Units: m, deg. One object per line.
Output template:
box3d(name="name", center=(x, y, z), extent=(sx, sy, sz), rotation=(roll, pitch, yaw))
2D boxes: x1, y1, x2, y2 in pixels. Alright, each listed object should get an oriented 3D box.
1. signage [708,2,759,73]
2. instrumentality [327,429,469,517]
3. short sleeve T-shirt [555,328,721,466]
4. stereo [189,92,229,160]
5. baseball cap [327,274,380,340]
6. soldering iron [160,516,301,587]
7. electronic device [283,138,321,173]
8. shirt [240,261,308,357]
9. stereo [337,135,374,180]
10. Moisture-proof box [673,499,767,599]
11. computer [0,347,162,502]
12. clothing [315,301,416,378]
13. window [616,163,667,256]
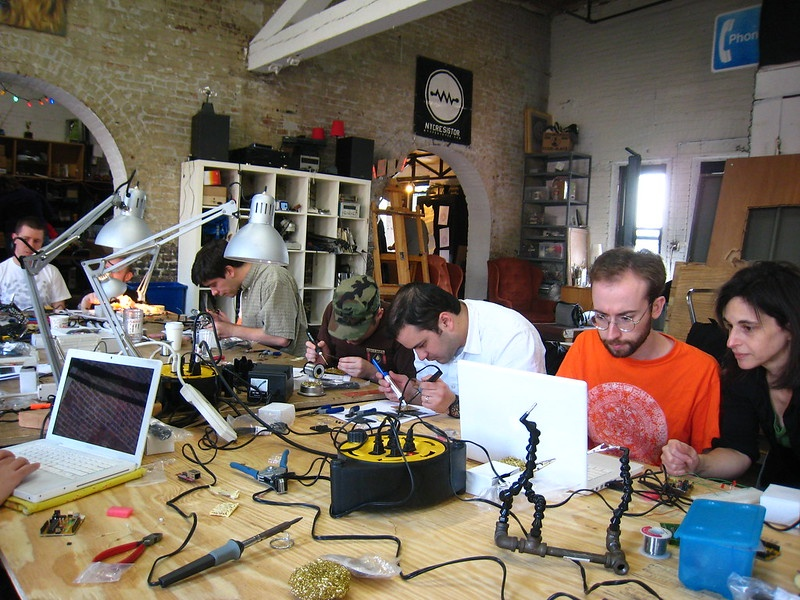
box3d(name="signage", center=(3.675, -2.827, 6.323), extent=(0.183, 0.641, 0.596), rotation=(-3, 13, -29))
box3d(name="instrumentality", center=(-0.009, 0.454, 1.610), extent=(0.285, 0.103, 0.261), rotation=(-1, 0, 14))
box3d(name="short sleeve T-shirt", center=(0.904, 0.378, 2.186), extent=(0.588, 0.387, 0.254), rotation=(8, 3, 44))
box3d(name="stereo", center=(-1.884, -1.716, 5.751), extent=(0.344, 0.715, 0.497), rotation=(-1, 13, -22))
box3d(name="baseball cap", center=(-0.253, 0.043, 3.180), extent=(0.274, 0.188, 0.357), rotation=(20, 52, 4))
box3d(name="soldering iron", center=(-0.355, 0.580, 1.444), extent=(0.447, 0.060, 0.064), rotation=(-11, 27, -34))
box3d(name="electronic device", center=(-1.041, -1.537, 6.233), extent=(0.435, 0.353, 0.356), rotation=(0, 12, -18))
box3d(name="shirt", center=(-0.852, 0.076, 3.847), extent=(0.426, 0.559, 0.705), rotation=(-2, 4, -25))
box3d(name="stereo", center=(-0.522, -1.589, 6.583), extent=(0.438, 0.464, 0.325), rotation=(4, 12, -1))
box3d(name="Moisture-proof box", center=(0.745, 0.564, 1.373), extent=(0.163, 0.105, 0.237), rotation=(1, 7, 35))
box3d(name="computer", center=(-0.918, 0.357, 1.815), extent=(0.511, 0.265, 0.444), rotation=(7, 6, 39))
box3d(name="clothing", center=(-0.163, 0.215, 3.026), extent=(0.442, 0.364, 0.259), rotation=(9, 9, 43))
box3d(name="window", center=(3.236, -1.228, 7.776), extent=(0.689, 1.180, 1.127), rotation=(8, 12, 18))
